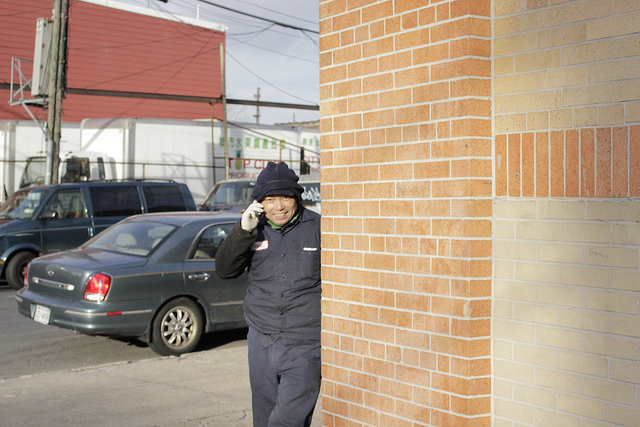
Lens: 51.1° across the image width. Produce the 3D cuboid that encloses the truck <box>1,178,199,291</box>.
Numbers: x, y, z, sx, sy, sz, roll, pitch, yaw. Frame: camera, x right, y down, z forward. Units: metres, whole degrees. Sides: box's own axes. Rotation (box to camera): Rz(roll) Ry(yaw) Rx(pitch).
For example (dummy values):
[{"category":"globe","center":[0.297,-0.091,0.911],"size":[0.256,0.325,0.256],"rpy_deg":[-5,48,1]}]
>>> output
[{"category":"truck","center":[-4.916,0.275,14.626],"size":[4.621,2.172,2.300],"rpy_deg":[-1,-1,-29]}]

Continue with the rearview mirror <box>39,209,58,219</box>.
[{"category":"rearview mirror","center":[-5.399,0.035,13.302],"size":[0.337,0.167,0.264],"rpy_deg":[-1,3,-23]}]

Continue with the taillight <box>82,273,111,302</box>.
[{"category":"taillight","center":[-2.692,0.896,8.111],"size":[0.236,0.379,0.102],"rpy_deg":[9,-3,10]}]

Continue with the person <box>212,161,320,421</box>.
[{"category":"person","center":[-0.359,0.572,4.944],"size":[0.706,1.886,0.595],"rpy_deg":[0,3,0]}]

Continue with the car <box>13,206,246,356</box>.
[{"category":"car","center":[-2.399,0.863,8.688],"size":[3.433,1.202,1.658],"rpy_deg":[-6,7,-43]}]

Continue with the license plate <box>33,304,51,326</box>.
[{"category":"license plate","center":[-3.525,1.273,8.489],"size":[0.239,0.255,0.059],"rpy_deg":[12,2,35]}]
